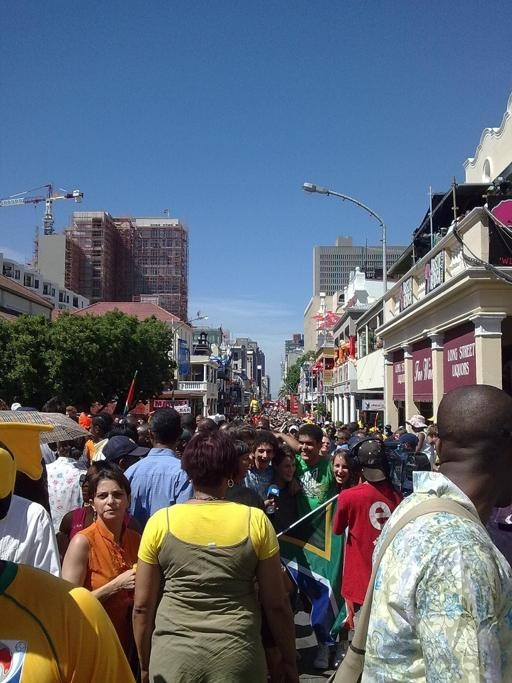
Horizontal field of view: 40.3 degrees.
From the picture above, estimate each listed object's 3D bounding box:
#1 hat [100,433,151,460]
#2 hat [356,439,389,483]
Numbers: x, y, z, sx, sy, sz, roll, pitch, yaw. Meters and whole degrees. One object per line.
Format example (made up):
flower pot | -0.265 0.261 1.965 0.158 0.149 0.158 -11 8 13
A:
hat | -1.094 0.883 5.787 0.303 0.170 0.205 3 6 -1
hat | 0.819 0.801 4.993 0.236 0.192 0.376 -5 36 13
